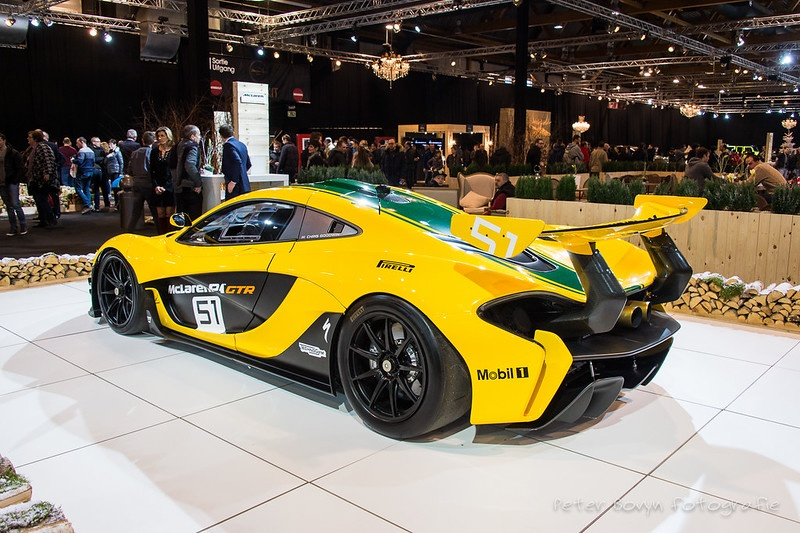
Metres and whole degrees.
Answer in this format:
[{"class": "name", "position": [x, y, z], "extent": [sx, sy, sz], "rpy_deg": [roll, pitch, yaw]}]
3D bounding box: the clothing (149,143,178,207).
[{"class": "clothing", "position": [-4.475, -1.569, 9.071], "extent": [0.476, 1.307, 0.401], "rpy_deg": [1, 5, -17]}]

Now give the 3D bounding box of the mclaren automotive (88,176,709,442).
[{"class": "mclaren automotive", "position": [-0.210, 0.181, 4.158], "extent": [4.566, 1.764, 1.483], "rpy_deg": [9, 16, 30]}]

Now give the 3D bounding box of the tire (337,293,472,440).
[{"class": "tire", "position": [0.042, 0.678, 3.353], "extent": [0.728, 0.789, 0.284], "rpy_deg": [-33, -18, 33]}]

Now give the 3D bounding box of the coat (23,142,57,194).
[{"class": "coat", "position": [-8.413, -2.304, 11.334], "extent": [0.935, 1.022, 0.543], "rpy_deg": [-2, 7, 38]}]

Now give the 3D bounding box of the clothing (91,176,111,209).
[{"class": "clothing", "position": [-9.332, -2.466, 15.003], "extent": [0.272, 0.975, 0.413], "rpy_deg": [8, 4, -25]}]

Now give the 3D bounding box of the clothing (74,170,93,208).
[{"class": "clothing", "position": [-9.277, -2.266, 14.167], "extent": [0.439, 1.213, 0.448], "rpy_deg": [12, 11, 12]}]

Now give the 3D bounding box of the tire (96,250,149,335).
[{"class": "tire", "position": [-2.897, 0.249, 5.048], "extent": [0.660, 0.820, 0.271], "rpy_deg": [18, 12, 36]}]

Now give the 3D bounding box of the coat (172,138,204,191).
[{"class": "coat", "position": [-3.739, -1.767, 8.444], "extent": [0.450, 1.068, 0.841], "rpy_deg": [-9, 23, -33]}]

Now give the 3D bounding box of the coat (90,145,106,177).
[{"class": "coat", "position": [-9.159, -3.251, 14.660], "extent": [0.277, 0.835, 0.582], "rpy_deg": [-3, 11, -36]}]
